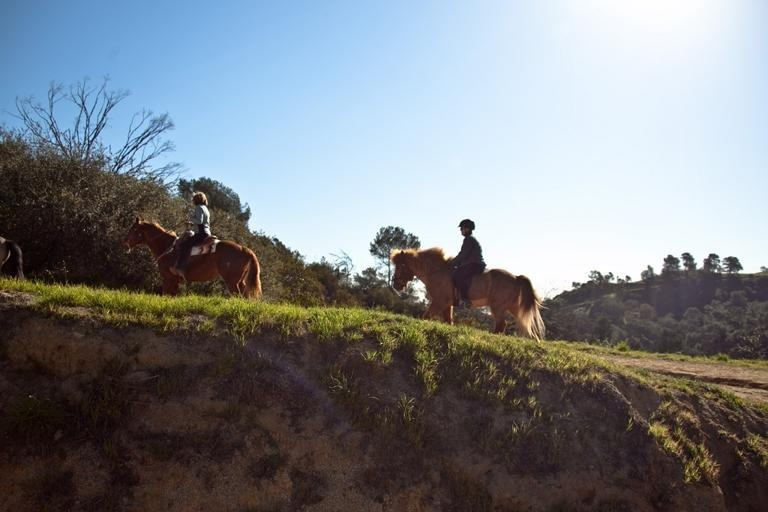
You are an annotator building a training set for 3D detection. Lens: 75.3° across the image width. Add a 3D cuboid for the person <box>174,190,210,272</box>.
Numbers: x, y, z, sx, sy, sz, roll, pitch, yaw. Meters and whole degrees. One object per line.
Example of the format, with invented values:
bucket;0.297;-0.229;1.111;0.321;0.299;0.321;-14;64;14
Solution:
person;-6.350;-0.723;16.492;1.024;2.730;0.964;5;0;-10
